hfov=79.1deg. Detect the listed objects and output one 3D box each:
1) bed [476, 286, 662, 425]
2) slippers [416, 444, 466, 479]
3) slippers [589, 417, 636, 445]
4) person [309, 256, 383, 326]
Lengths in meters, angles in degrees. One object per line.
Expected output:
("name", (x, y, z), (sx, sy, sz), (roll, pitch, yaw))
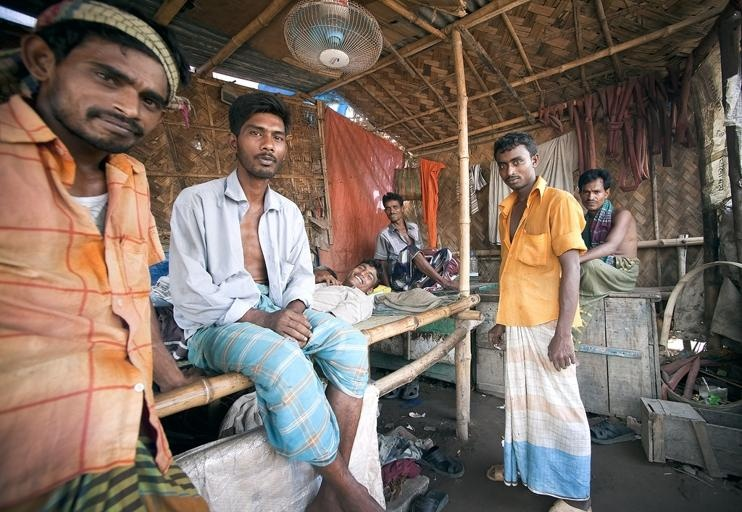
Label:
("bed", (2.153, 0.950, 4.306), (1.422, 0.846, 1.453), (-5, -8, 44))
("slippers", (0.542, 1.624, 3.545), (0.230, 0.137, 0.372), (2, -5, -41))
("slippers", (2.140, 1.537, 3.951), (0.202, 0.065, 0.191), (-3, 3, -25))
("person", (-0.214, 0.293, 4.234), (0.791, 0.230, 0.615), (-21, 46, -37))
